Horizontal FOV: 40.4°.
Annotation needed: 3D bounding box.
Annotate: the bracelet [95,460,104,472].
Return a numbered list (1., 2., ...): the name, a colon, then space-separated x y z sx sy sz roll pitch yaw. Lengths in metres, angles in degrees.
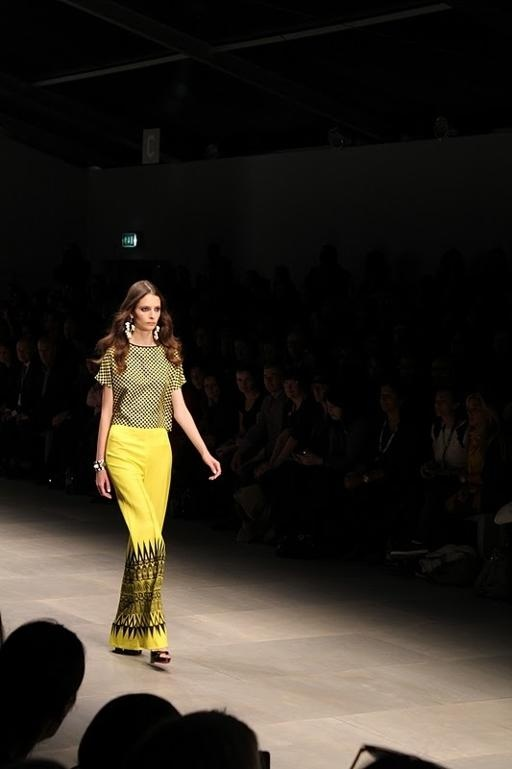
1. bracelet: -0.854 0.439 3.792 0.050 0.056 0.157 2 -4 -13

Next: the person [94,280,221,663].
1. person: -0.591 0.436 3.779 0.581 2.058 0.426 3 -4 -11

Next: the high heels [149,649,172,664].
1. high heels: -0.493 1.380 3.537 0.090 0.073 0.083 1 -3 6
